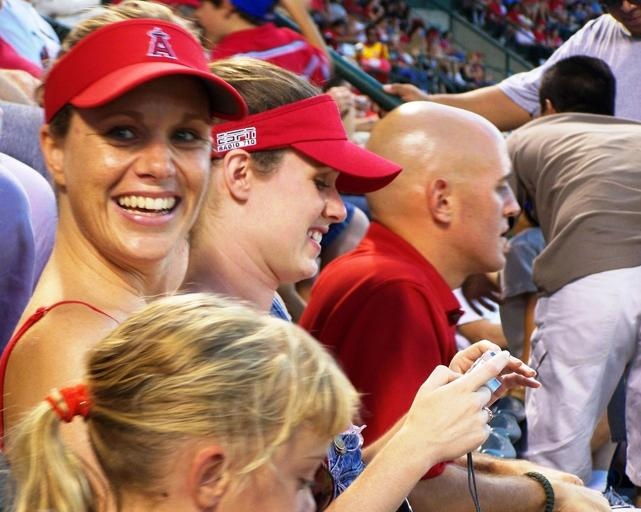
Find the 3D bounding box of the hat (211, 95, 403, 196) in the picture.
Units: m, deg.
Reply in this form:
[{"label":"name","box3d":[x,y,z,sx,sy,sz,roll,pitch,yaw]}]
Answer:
[{"label":"hat","box3d":[-0.079,-0.366,3.078,0.598,0.260,0.361,3,4,6]}]

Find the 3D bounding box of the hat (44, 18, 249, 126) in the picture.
[{"label":"hat","box3d":[-0.535,-0.584,2.734,0.370,0.198,0.472,-12,28,-25]}]
